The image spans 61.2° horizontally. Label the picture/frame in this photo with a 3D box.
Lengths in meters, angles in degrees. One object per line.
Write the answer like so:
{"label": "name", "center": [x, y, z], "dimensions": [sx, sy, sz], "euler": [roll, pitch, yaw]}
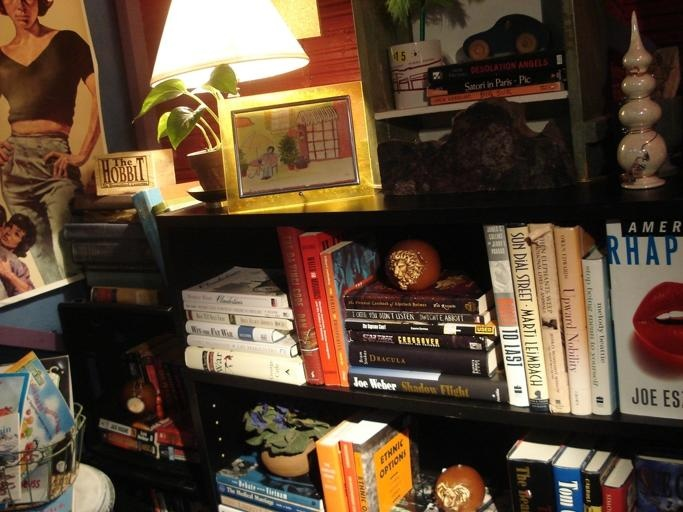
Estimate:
{"label": "picture/frame", "center": [-0.106, -0.273, 1.473], "dimensions": [0.369, 0.248, 0.028], "euler": [-7, 2, 9]}

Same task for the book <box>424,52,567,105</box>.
{"label": "book", "center": [0.353, -0.415, 1.349], "dimensions": [0.304, 0.090, 0.019], "euler": [-3, 13, 18]}

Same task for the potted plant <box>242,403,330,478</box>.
{"label": "potted plant", "center": [-0.163, 0.510, 1.693], "dimensions": [0.229, 0.140, 0.212], "euler": [1, -1, 15]}

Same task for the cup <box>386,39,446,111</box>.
{"label": "cup", "center": [0.177, -0.454, 1.460], "dimensions": [0.177, 0.173, 0.158], "euler": [-4, 16, 9]}
